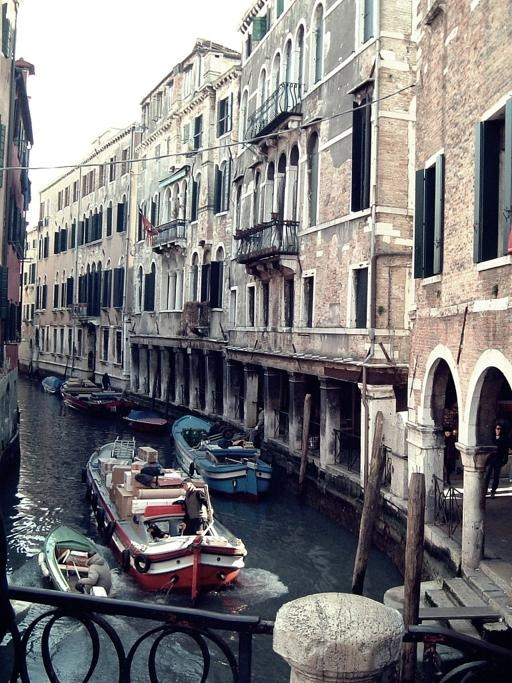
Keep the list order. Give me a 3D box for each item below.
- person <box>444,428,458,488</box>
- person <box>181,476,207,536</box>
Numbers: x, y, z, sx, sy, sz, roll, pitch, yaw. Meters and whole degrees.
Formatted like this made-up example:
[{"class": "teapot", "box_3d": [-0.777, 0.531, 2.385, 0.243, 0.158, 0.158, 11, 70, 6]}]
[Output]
[{"class": "person", "box_3d": [4.225, 2.412, 15.571, 0.246, 0.992, 0.730, 0, -2, 18]}, {"class": "person", "box_3d": [-1.167, 3.142, 13.843, 0.326, 0.984, 1.282, 1, -2, 7]}]
